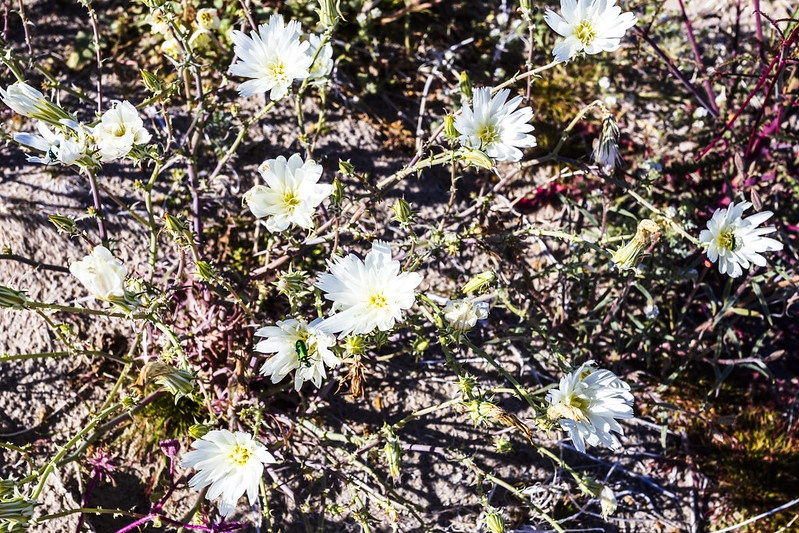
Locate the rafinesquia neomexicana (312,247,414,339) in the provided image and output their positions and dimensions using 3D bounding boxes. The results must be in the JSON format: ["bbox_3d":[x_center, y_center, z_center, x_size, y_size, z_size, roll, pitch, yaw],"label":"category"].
[{"bbox_3d":[-0.098,0.095,3.655,0.389,0.147,0.397,10,-17,3],"label":"rafinesquia neomexicana"}]

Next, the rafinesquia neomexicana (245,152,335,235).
[{"bbox_3d":[-0.510,-0.341,3.621,0.321,0.405,0.191,-7,1,10],"label":"rafinesquia neomexicana"}]

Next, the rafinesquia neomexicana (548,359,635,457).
[{"bbox_3d":[0.886,0.652,3.703,0.422,0.354,0.210,8,5,-18],"label":"rafinesquia neomexicana"}]

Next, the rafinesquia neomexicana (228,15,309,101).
[{"bbox_3d":[-0.614,-1.000,3.712,0.395,0.413,0.202,8,5,-7],"label":"rafinesquia neomexicana"}]
